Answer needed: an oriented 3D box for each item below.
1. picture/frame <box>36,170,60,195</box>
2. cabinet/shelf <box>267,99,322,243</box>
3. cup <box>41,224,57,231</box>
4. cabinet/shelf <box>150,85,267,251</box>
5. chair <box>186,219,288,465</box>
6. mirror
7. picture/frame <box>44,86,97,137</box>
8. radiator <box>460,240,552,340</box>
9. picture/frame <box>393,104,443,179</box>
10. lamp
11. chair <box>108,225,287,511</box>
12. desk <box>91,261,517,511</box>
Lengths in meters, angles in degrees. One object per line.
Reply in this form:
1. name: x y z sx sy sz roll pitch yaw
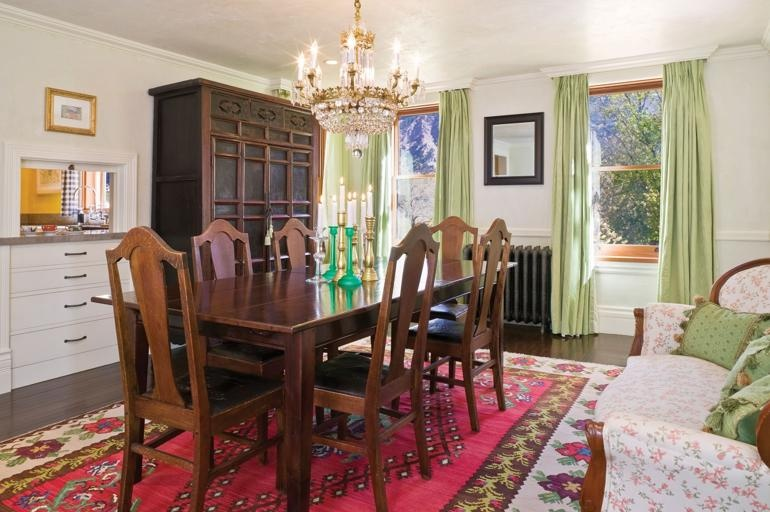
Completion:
1. picture/frame: -3.628 -0.803 5.580 0.255 0.347 0.036 -2 4 -26
2. cabinet/shelf: -1.127 -0.951 6.323 0.777 1.749 0.230 3 18 3
3. cup: -3.554 -0.304 5.502 0.135 0.049 0.101 2 0 31
4. cabinet/shelf: -1.885 -0.752 5.825 0.767 2.183 1.170 2 8 26
5. chair: -0.935 0.330 3.743 0.702 1.144 0.655 7 11 5
6. mirror: 1.615 -1.344 6.352 0.923 1.092 0.077 1 2 25
7. picture/frame: -3.028 -1.399 4.971 0.056 0.522 0.545 2 2 43
8. radiator: 1.510 0.327 6.353 0.953 0.979 1.055 2 2 25
9. picture/frame: 0.475 -1.566 6.900 0.958 1.339 0.053 2 2 27
10. lamp: -0.226 -1.514 4.363 0.995 1.331 1.092 1 6 27
11. chair: -1.153 0.639 3.025 0.939 1.635 0.683 2 6 31
12. desk: -0.718 0.417 3.405 1.294 1.111 2.413 2 2 31
